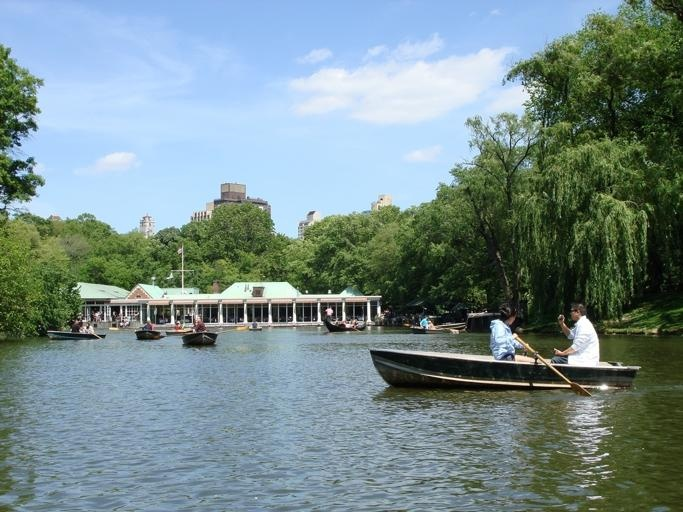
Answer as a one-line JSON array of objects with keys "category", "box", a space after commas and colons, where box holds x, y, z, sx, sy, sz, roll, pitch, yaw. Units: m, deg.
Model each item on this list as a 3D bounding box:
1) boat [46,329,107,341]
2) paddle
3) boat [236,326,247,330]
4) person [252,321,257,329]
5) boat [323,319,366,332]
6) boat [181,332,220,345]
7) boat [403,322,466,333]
[{"category": "boat", "box": [-20.179, 5.944, 62.978, 3.504, 0.527, 0.809, 7, 4, -29]}, {"category": "paddle", "box": [7.426, 3.924, 29.198, 0.333, 3.049, 0.257, -53, -21, 11]}, {"category": "boat", "box": [-10.487, 7.510, 87.984, 1.194, 0.501, 2.108, -2, -6, -7]}, {"category": "person", "box": [-9.082, 7.327, 89.379, 0.981, 0.839, 0.482, 1, -7, -20]}, {"category": "boat", "box": [0.402, 6.456, 78.043, 3.198, 1.340, 5.877, -3, -6, 5]}, {"category": "boat", "box": [-9.382, 5.401, 54.697, 2.180, 0.880, 1.132, -6, -7, 29]}, {"category": "boat", "box": [8.447, 6.160, 71.064, 3.196, 0.894, 7.253, -5, -7, 22]}]
